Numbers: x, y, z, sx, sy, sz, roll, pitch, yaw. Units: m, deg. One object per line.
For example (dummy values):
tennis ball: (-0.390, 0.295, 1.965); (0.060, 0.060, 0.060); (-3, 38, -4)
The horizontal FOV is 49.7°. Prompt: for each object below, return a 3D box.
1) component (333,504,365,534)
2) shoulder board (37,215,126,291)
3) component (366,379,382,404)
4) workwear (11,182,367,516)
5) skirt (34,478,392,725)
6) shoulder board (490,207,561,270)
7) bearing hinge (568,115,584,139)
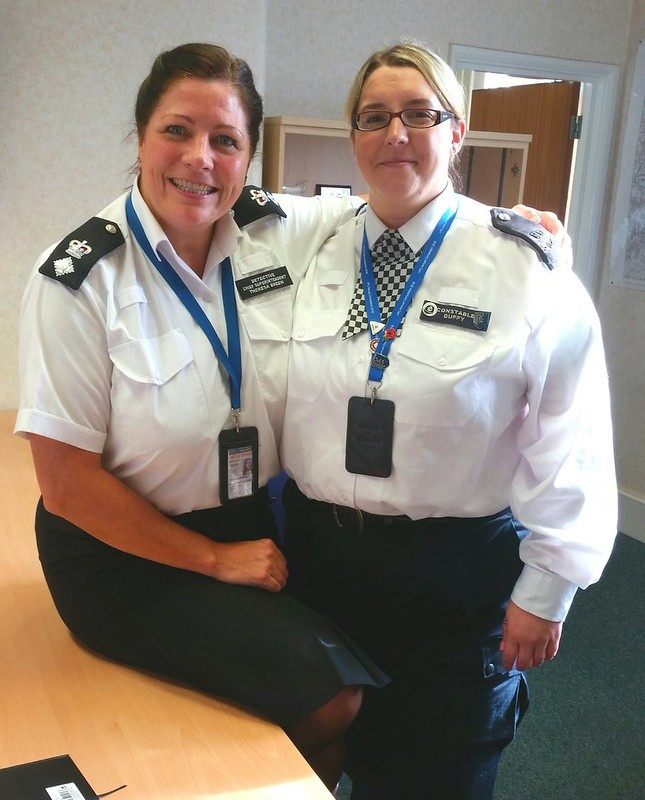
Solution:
component: (0.051, 0.241, 1.401); (0.057, 0.051, 0.014); (2, 10, 38)
shoulder board: (-0.422, -0.258, 1.207); (0.092, 0.032, 0.157); (19, 48, 10)
component: (0.091, -0.018, 1.307); (0.025, 0.041, 0.012); (1, -3, 9)
workwear: (-0.222, -0.083, 1.319); (0.735, 0.542, 0.302); (-8, 13, -33)
skirt: (-0.212, 0.286, 1.241); (0.545, 0.154, 0.351); (27, 27, 21)
shoulder board: (0.407, -0.331, 1.385); (0.149, 0.036, 0.111); (36, 36, -11)
bearing hinge: (1.565, -1.684, 4.304); (0.035, 0.127, 0.143); (0, 5, -31)
